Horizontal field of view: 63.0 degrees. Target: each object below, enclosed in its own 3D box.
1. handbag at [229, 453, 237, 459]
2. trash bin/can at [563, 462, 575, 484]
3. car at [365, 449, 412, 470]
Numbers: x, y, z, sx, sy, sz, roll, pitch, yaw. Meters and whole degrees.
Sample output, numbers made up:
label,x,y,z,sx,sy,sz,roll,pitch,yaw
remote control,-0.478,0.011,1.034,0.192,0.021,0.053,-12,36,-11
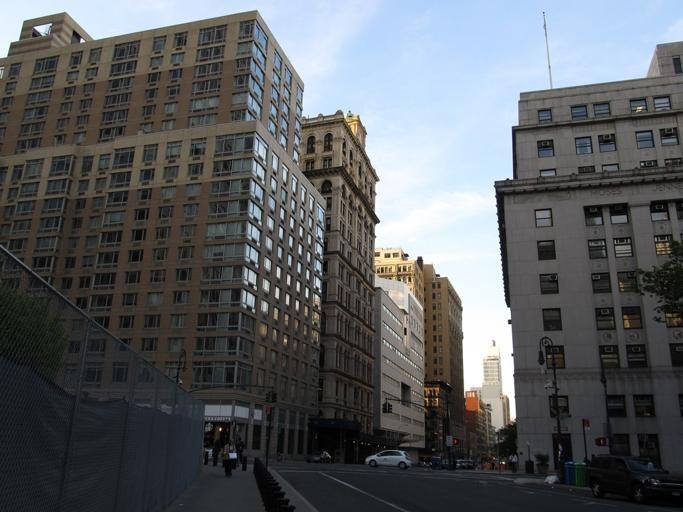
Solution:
label,x,y,z,sx,sy,sz,roll,pitch,yaw
handbag,-5.996,11.037,30.855,0.405,0.309,0.572,18,-17,-41
trash bin/can,13.937,13.302,34.124,0.793,1.360,0.777,17,-23,-39
car,4.847,20.702,56.957,4.560,1.746,1.602,-12,-23,30
